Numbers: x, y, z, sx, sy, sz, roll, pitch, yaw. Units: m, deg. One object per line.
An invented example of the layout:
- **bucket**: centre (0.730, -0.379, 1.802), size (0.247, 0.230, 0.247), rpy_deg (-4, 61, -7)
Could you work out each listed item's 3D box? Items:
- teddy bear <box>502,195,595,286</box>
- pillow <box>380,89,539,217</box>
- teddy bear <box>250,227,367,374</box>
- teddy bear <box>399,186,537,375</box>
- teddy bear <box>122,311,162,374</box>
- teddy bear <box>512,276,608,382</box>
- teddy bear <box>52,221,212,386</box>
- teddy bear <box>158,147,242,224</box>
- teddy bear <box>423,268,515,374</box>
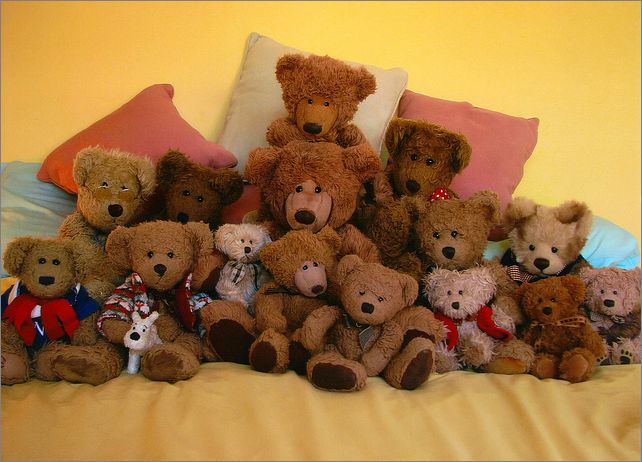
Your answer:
- **teddy bear**: centre (0.770, 0.054, 2.053), size (0.331, 0.351, 0.200), rpy_deg (6, 25, 25)
- **pillow**: centre (0.577, -0.307, 2.478), size (0.480, 0.149, 0.502), rpy_deg (14, 62, 6)
- **teddy bear**: centre (-0.086, 0.220, 1.969), size (0.400, 0.504, 0.399), rpy_deg (4, 11, -3)
- **teddy bear**: centre (0.451, 0.178, 1.937), size (0.414, 0.616, 0.401), rpy_deg (-7, 1, 14)
- **teddy bear**: centre (-0.560, 0.340, 1.830), size (0.097, 0.174, 0.114), rpy_deg (26, 21, 33)
- **teddy bear**: centre (0.753, 0.303, 1.852), size (0.203, 0.303, 0.260), rpy_deg (5, 20, -25)
- **teddy bear**: centre (-0.514, 0.199, 1.872), size (0.397, 0.518, 0.444), rpy_deg (1, 11, -10)
- **teddy bear**: centre (-0.432, -0.152, 2.062), size (0.217, 0.218, 0.148), rpy_deg (25, 1, -12)
- **teddy bear**: centre (0.446, 0.264, 1.978), size (0.379, 0.386, 0.271), rpy_deg (-6, 9, 6)
